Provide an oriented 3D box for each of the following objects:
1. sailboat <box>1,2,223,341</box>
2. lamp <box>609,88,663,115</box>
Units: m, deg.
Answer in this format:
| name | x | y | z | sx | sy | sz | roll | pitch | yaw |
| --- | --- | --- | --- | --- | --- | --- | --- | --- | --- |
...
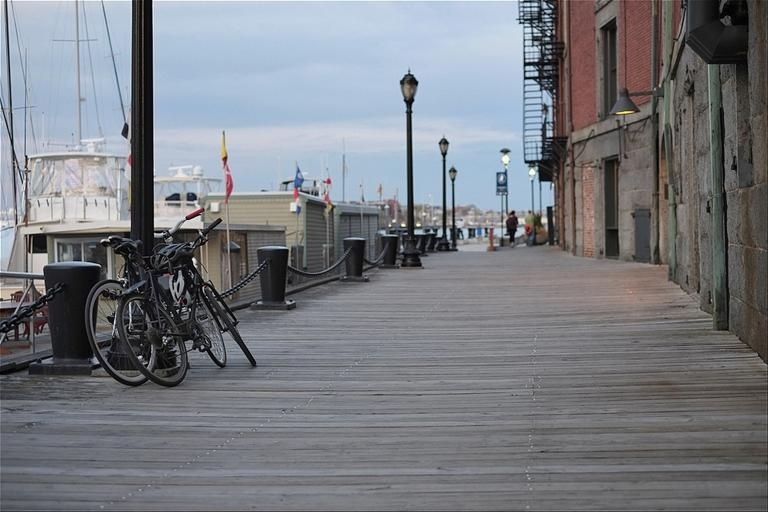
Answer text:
| name | x | y | z | sx | sy | sz | roll | pitch | yaw |
| --- | --- | --- | --- | --- | --- | --- | --- | --- | --- |
| sailboat | -3.951 | -1.054 | 20.849 | 1.758 | 4.664 | 5.797 | 0 | -2 | -1 |
| lamp | 5.699 | -3.383 | 27.760 | 1.458 | 0.652 | 0.685 | 0 | 5 | -1 |
